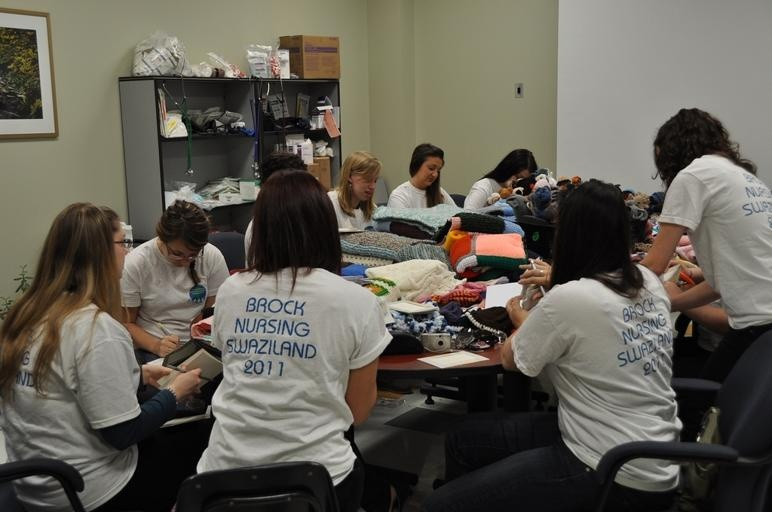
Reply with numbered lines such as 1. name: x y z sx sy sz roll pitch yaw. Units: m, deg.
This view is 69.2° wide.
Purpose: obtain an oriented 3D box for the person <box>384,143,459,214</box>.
1. person: 0.315 -0.675 4.988 0.746 0.661 0.463 -4 10 -34

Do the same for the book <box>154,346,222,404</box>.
1. book: -0.828 0.473 2.346 0.239 0.235 0.063 -36 50 -3

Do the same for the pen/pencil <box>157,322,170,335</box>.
1. pen/pencil: -1.229 0.401 3.086 0.020 0.067 0.019 -31 -11 -4

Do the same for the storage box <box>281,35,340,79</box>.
1. storage box: -0.801 -2.038 6.081 0.549 0.472 0.545 -2 9 -21

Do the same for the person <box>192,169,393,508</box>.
1. person: -0.327 0.333 1.894 0.532 1.208 0.453 7 15 31

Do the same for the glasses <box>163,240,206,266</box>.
1. glasses: -1.075 -0.009 2.931 0.136 0.079 0.174 6 35 -37

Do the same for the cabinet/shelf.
1. cabinet/shelf: -1.323 -0.762 4.357 0.420 1.568 1.670 7 13 39

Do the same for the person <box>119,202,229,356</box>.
1. person: -1.154 0.149 3.097 0.507 0.942 0.560 25 26 30

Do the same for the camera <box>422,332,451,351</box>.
1. camera: 0.221 0.358 2.400 0.129 0.089 0.069 -1 2 -18
